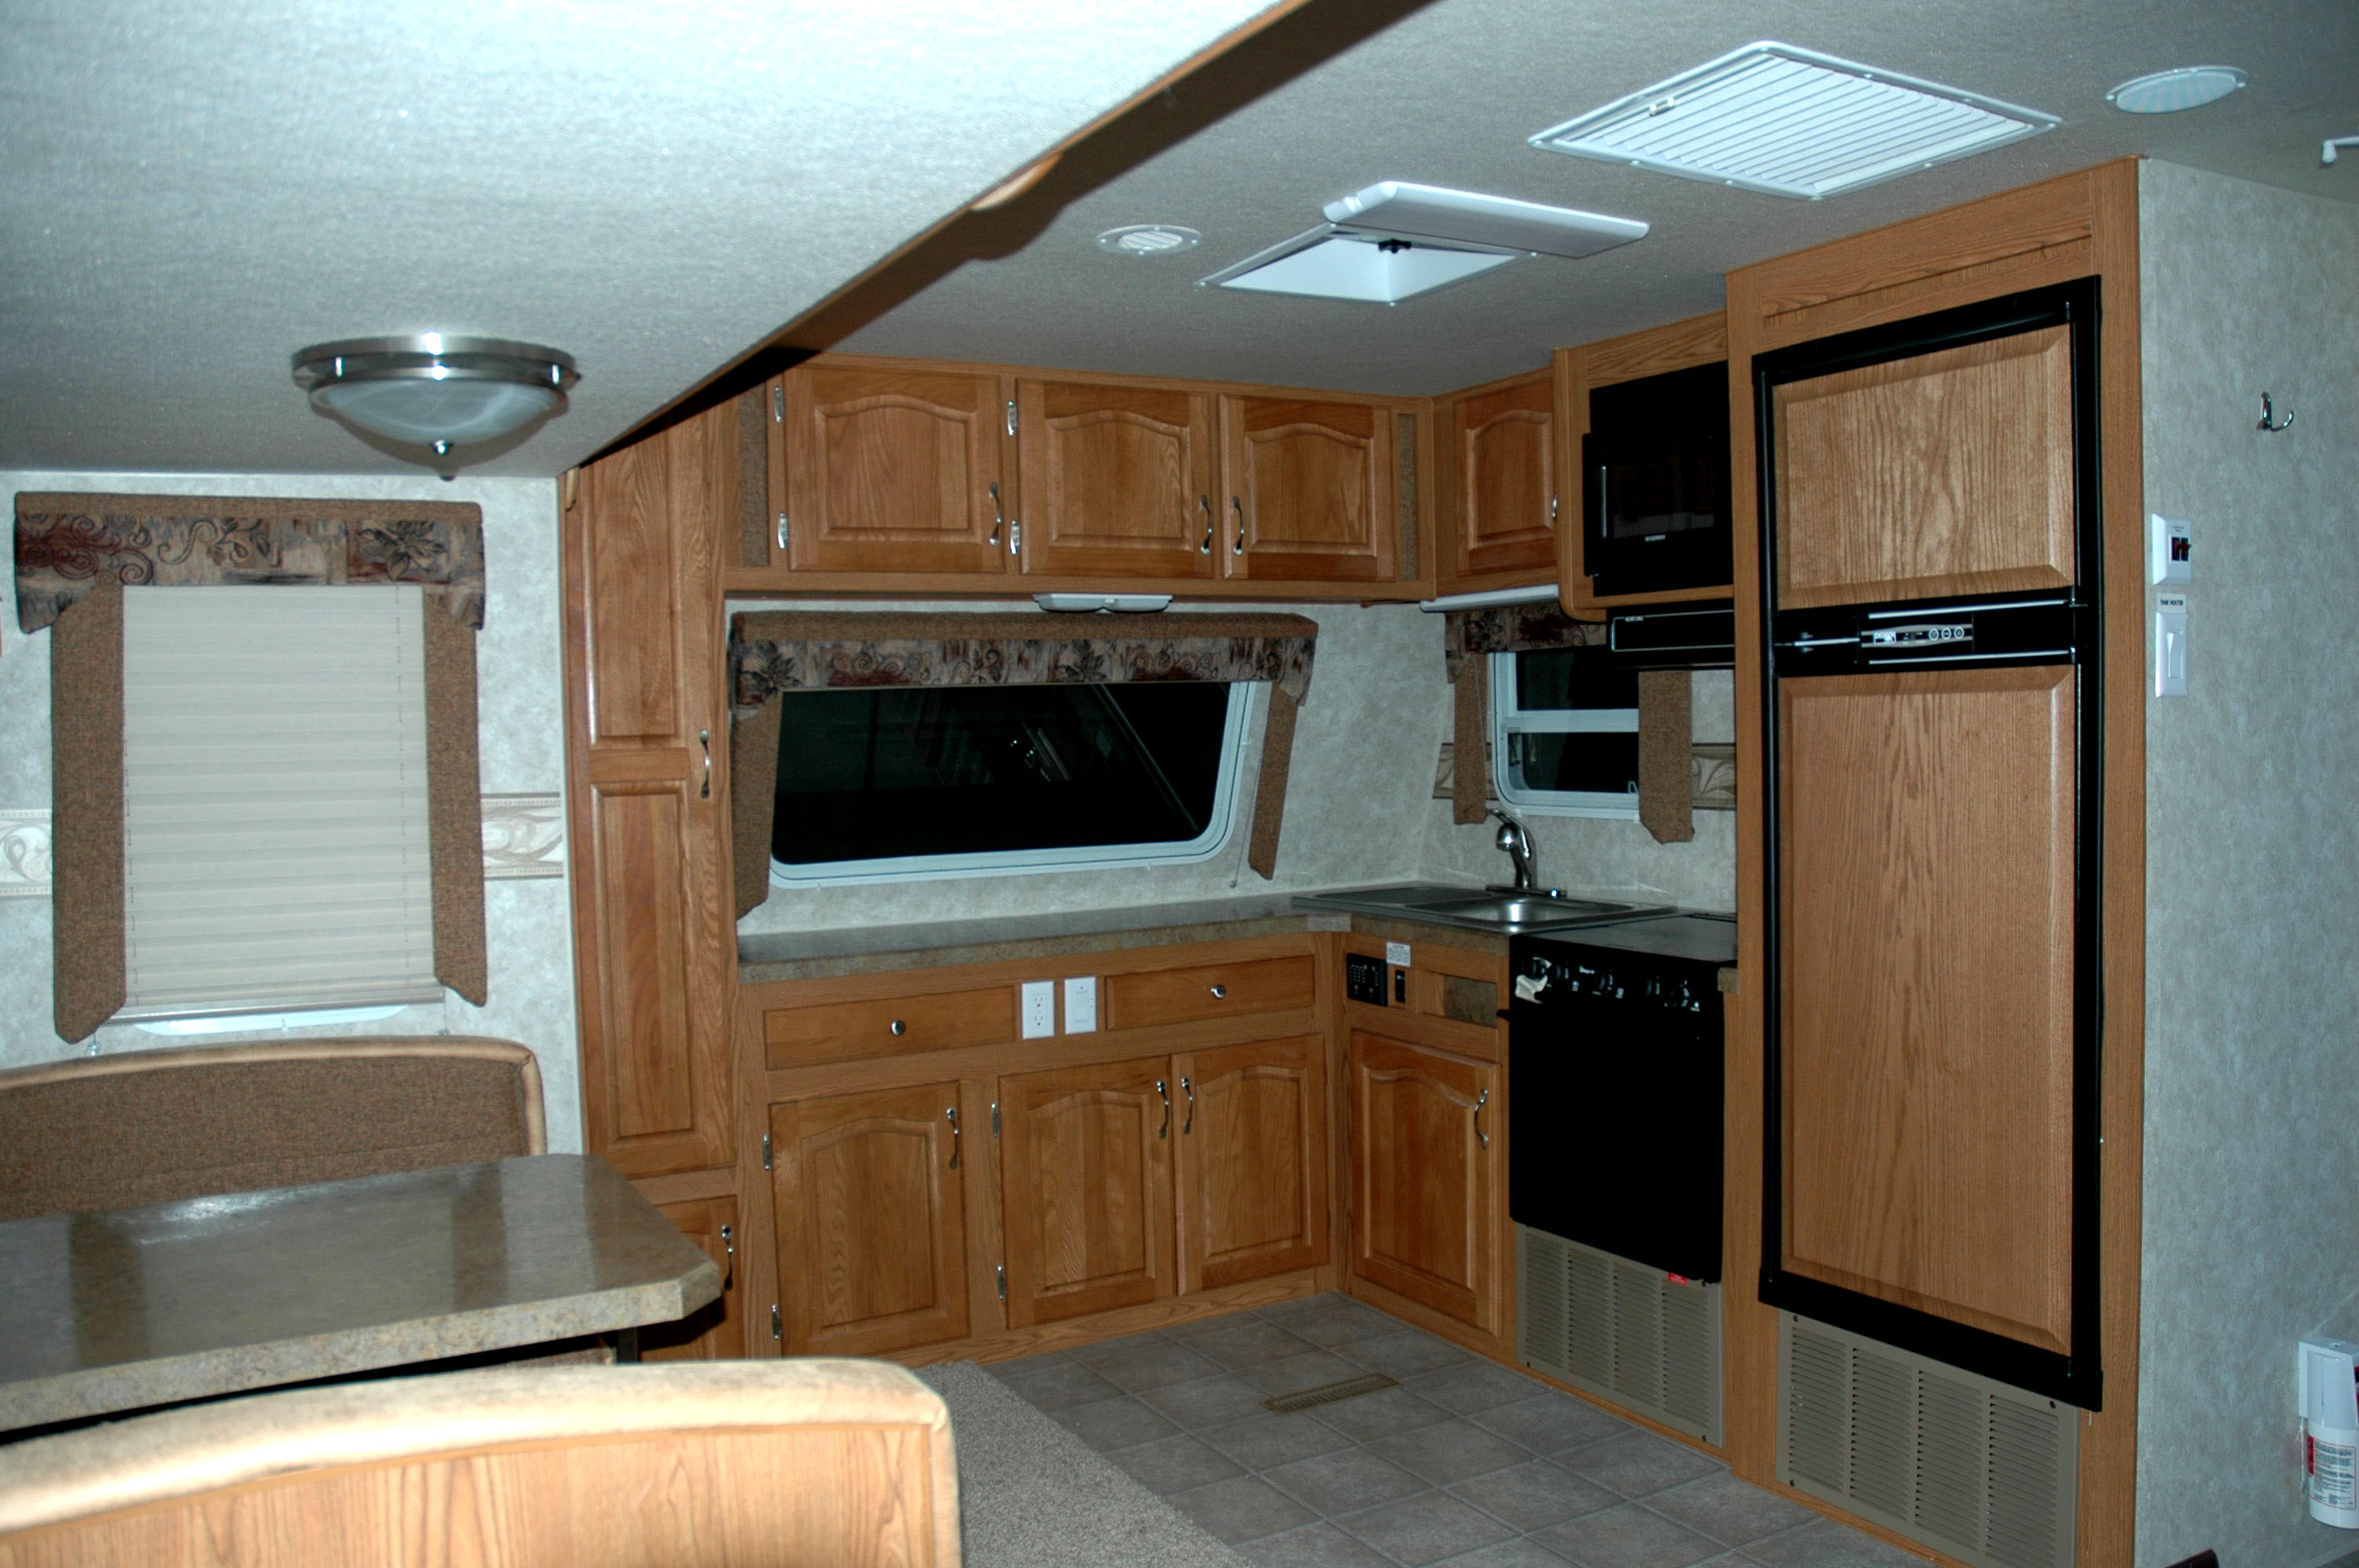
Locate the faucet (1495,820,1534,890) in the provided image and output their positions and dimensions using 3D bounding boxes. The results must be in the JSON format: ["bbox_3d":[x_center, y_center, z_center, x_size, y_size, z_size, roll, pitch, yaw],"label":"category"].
[{"bbox_3d":[1.066,0.222,5.555,0.130,0.230,0.153,1,10,22],"label":"faucet"}]

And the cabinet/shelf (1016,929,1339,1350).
[{"bbox_3d":[0.145,1.070,5.279,0.599,1.065,1.375,15,-27,-42],"label":"cabinet/shelf"}]

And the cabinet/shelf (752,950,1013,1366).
[{"bbox_3d":[-0.663,1.119,4.934,0.893,1.155,0.672,-6,-25,10],"label":"cabinet/shelf"}]

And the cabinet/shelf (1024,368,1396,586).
[{"bbox_3d":[-0.033,-0.864,5.234,1.551,0.597,0.513,-6,8,-42],"label":"cabinet/shelf"}]

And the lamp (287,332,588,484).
[{"bbox_3d":[-1.354,-0.677,3.179,0.533,0.151,0.483,-3,2,18],"label":"lamp"}]

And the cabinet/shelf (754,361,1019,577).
[{"bbox_3d":[-0.813,-0.839,4.631,0.768,0.527,0.367,-1,0,-27],"label":"cabinet/shelf"}]

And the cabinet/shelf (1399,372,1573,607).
[{"bbox_3d":[1.056,-0.903,5.169,0.304,0.575,0.732,-5,7,-23],"label":"cabinet/shelf"}]
